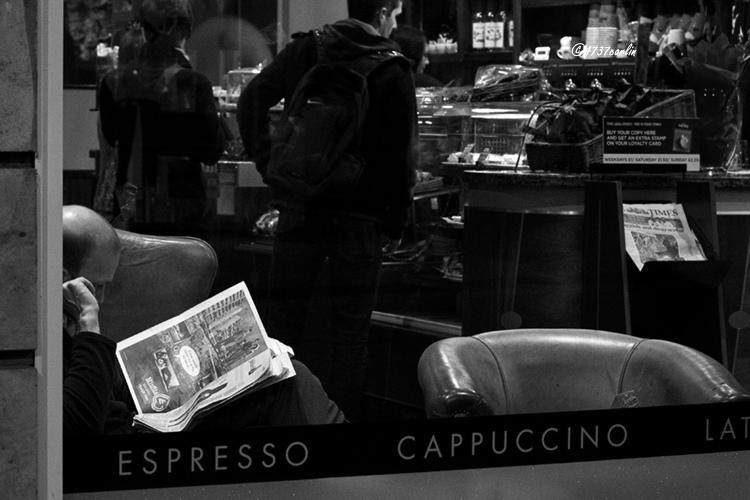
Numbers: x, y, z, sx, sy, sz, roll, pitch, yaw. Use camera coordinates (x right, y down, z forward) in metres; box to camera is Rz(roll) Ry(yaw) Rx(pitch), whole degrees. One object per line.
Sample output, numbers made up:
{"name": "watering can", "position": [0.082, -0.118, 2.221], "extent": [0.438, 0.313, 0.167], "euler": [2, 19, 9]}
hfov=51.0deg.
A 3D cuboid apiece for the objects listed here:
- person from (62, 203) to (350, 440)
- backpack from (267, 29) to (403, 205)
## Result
{"name": "person", "position": [-0.618, 0.189, 2.795], "extent": [0.769, 0.888, 0.687], "euler": [0, 2, -13]}
{"name": "backpack", "position": [-0.225, -0.515, 2.904], "extent": [0.416, 0.626, 0.353], "euler": [15, 19, -23]}
